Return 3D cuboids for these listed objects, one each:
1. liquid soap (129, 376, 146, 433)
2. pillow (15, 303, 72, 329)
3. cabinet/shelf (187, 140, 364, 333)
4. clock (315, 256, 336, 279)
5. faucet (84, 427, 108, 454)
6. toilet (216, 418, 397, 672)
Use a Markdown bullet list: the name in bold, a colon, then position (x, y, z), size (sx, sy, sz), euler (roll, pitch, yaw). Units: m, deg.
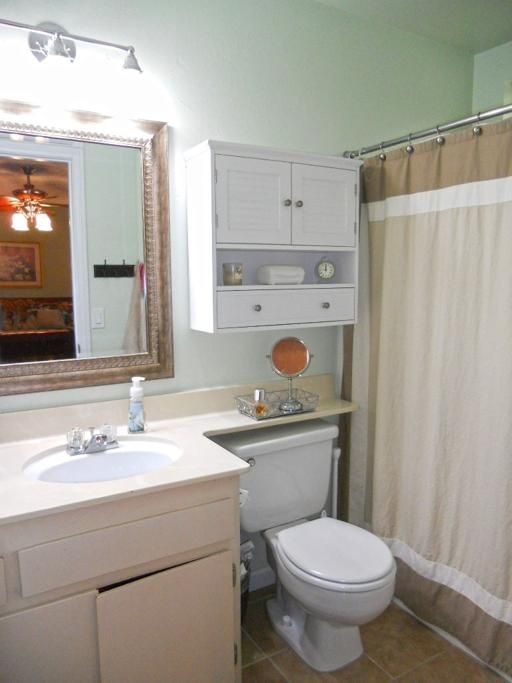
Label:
- **liquid soap**: position (-0.401, 0.208, 1.746), size (0.059, 0.180, 0.094), euler (-4, 10, -13)
- **pillow**: position (-0.654, -0.071, 1.640), size (0.105, 0.090, 0.032), euler (-10, 16, -31)
- **cabinet/shelf**: position (0.055, -0.370, 1.862), size (0.669, 0.685, 0.268), euler (-4, 6, -32)
- **clock**: position (0.274, -0.292, 2.067), size (0.070, 0.076, 0.022), euler (-15, 8, -20)
- **faucet**: position (-0.493, 0.309, 1.641), size (0.079, 0.078, 0.055), euler (-5, 8, -28)
- **toilet**: position (0.218, 0.741, 1.870), size (0.394, 0.719, 0.649), euler (-6, 10, -32)
